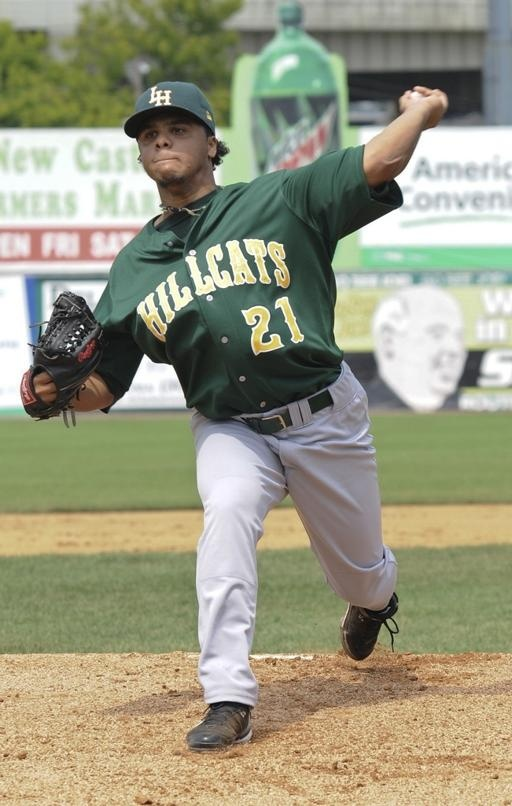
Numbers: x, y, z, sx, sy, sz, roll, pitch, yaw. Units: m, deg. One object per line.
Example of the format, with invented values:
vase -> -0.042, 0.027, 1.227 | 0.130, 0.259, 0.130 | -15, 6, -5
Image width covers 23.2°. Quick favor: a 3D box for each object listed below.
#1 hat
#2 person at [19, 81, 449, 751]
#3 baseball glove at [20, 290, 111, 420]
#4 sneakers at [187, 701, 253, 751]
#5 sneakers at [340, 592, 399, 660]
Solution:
hat -> -0.248, -0.859, 3.491 | 0.187, 0.116, 0.243 | -3, 3, 24
person -> -0.045, -0.029, 3.396 | 1.109, 1.777, 0.737 | 0, 3, 8
baseball glove -> -0.558, -0.137, 3.554 | 0.243, 0.346, 0.175 | 1, 17, -4
sneakers -> -0.086, 0.811, 3.109 | 0.079, 0.091, 0.212 | -5, -8, 25
sneakers -> 0.351, 0.697, 3.885 | 0.096, 0.256, 0.182 | 28, -33, -29
